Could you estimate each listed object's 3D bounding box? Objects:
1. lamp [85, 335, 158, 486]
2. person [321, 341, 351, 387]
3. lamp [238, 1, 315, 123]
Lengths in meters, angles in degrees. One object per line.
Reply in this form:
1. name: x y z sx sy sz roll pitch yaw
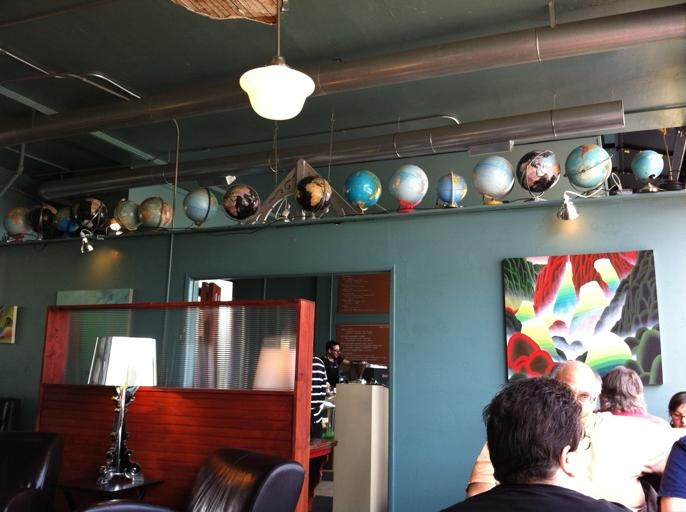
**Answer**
1. lamp: -1.889 1.315 4.555 0.378 1.219 0.574 -7 -11 33
2. person: -0.135 1.987 8.897 0.507 1.093 0.474 -1 -1 -13
3. lamp: -0.457 -1.304 3.647 0.494 0.607 0.277 1 -9 -6
